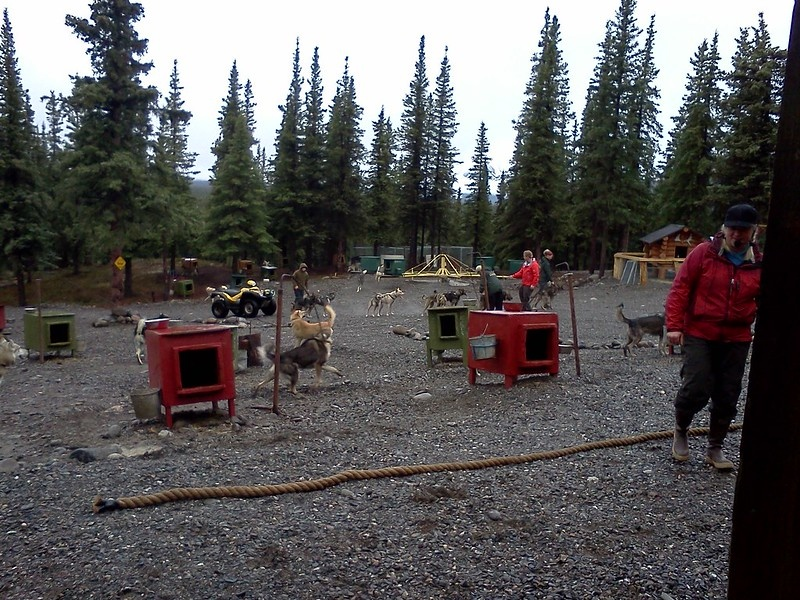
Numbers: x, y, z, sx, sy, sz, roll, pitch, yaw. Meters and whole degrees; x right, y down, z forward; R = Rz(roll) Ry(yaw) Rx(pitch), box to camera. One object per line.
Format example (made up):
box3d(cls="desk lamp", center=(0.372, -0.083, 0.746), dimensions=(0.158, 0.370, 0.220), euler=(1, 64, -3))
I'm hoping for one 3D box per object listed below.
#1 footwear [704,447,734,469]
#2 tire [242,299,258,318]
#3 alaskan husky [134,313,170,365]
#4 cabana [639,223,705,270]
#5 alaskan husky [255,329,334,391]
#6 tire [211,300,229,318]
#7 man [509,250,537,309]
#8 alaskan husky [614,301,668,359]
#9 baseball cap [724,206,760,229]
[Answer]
box3d(cls="footwear", center=(3.202, 1.582, 6.691), dimensions=(0.129, 0.191, 0.276), euler=(1, 0, -18))
box3d(cls="tire", center=(-5.356, 0.267, 23.793), dimensions=(0.530, 0.542, 0.189), euler=(15, 17, 35))
box3d(cls="alaskan husky", center=(-5.859, 0.821, 15.365), dimensions=(0.318, 0.942, 1.561), euler=(16, 9, -9))
box3d(cls="cabana", center=(15.223, -3.130, 36.317), dimensions=(2.756, 1.790, 3.571), euler=(7, 7, 12))
box3d(cls="alaskan husky", center=(-1.636, 1.031, 11.016), dimensions=(1.507, 0.903, 0.472), euler=(-9, 12, -38))
box3d(cls="tire", center=(-6.620, 0.278, 24.555), dimensions=(0.474, 0.636, 0.767), euler=(-4, 6, -21))
box3d(cls="man", center=(3.631, -0.567, 19.167), dimensions=(0.687, 1.733, 1.761), euler=(-1, 6, 10))
box3d(cls="alaskan husky", center=(5.190, 0.626, 13.908), dimensions=(1.524, 1.008, 0.358), euler=(-2, -1, -16))
box3d(cls="baseball cap", center=(3.180, -0.771, 6.163), dimensions=(0.203, 0.147, 0.294), euler=(14, 9, 35))
